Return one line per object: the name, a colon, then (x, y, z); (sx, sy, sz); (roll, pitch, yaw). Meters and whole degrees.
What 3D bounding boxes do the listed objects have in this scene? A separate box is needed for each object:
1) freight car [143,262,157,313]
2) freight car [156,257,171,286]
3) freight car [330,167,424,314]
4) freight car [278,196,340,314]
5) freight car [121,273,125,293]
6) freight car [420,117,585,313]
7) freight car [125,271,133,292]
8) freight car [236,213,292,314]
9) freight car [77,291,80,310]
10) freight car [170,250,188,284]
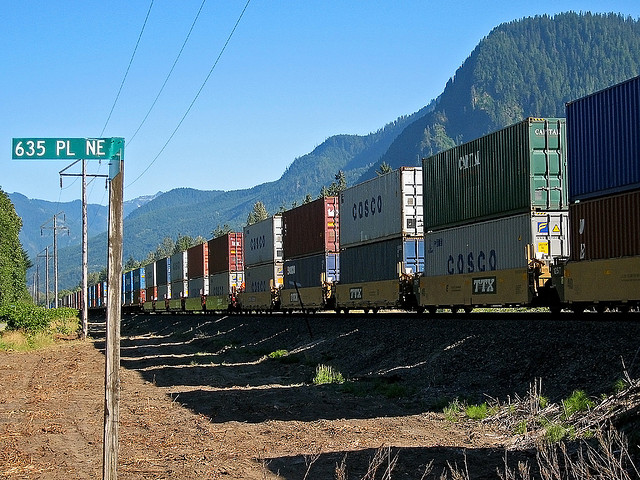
freight car: (-20.152, 5.641, 85.286); (1.019, 5.973, 6.741); (0, -8, -18)
freight car: (-17.255, 3.556, 79.245); (0.332, 3.384, 7.235); (1, -9, -22)
freight car: (3.231, 0.478, 37.528); (2.425, 7.008, 6.887); (2, -6, -28)
freight car: (-0.713, 1.017, 43.885); (2.006, 7.076, 8.601); (0, -9, -17)
freight car: (-28.561, 6.368, 104.434); (0.303, 2.941, 2.886); (0, -8, -14)
freight car: (6.977, -0.581, 30.206); (2.642, 7.856, 8.656); (2, -9, -29)
freight car: (-26.380, 5.888, 99.382); (1.375, 2.960, 2.684); (0, -3, -19)
freight car: (-3.895, 1.940, 50.289); (2.010, 6.219, 6.342); (1, -7, -19)
freight car: (-43.328, 10.679, 128.961); (0.366, 2.910, 7.968); (0, -9, -18)
freight car: (-14.278, 2.748, 72.774); (0.537, 3.304, 6.716); (1, -9, -22)
